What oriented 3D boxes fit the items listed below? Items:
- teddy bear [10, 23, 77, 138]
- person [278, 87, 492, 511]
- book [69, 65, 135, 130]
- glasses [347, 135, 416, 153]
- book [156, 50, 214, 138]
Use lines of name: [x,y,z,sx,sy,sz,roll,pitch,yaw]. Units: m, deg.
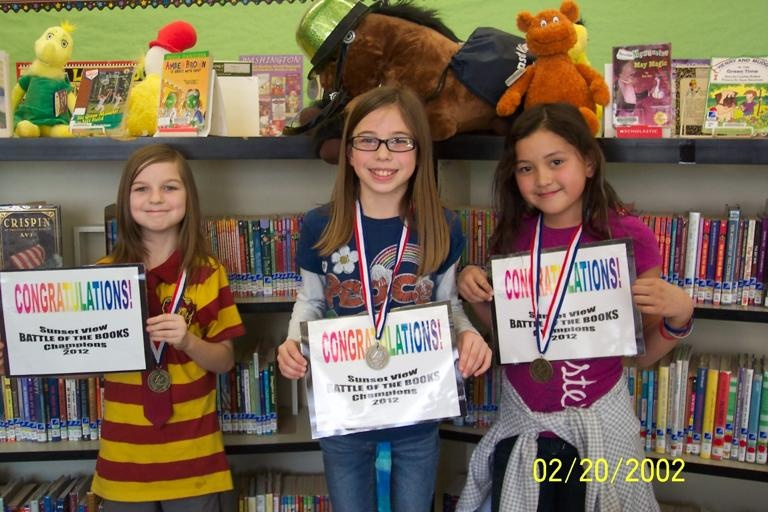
teddy bear: [-1.390,-0.725,2.681,0.256,0.488,0.334,-5,8,-22]
person: [0.011,0.167,2.317,0.708,1.522,0.347,-1,7,7]
book: [-1.097,-0.596,2.632,0.265,0.258,0.065,1,-18,20]
glasses: [0.001,-0.390,2.282,0.217,0.061,0.046,-1,7,4]
book: [-0.782,-0.632,2.565,0.219,0.334,0.114,1,8,22]
